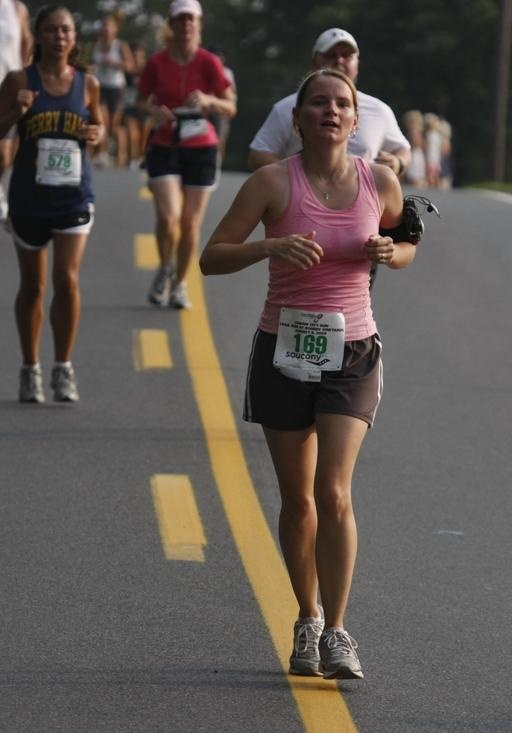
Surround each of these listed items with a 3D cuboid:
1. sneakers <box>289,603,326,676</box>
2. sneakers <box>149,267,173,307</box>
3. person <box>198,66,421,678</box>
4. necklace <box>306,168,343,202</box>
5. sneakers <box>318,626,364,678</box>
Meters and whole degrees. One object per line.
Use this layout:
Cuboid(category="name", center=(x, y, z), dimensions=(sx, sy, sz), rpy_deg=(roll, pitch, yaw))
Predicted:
Cuboid(category="sneakers", center=(0.139, 0.757, 2.107), dimensions=(0.066, 0.076, 0.177), rpy_deg=(-1, 3, 1))
Cuboid(category="sneakers", center=(-0.827, -0.662, 6.839), dimensions=(0.152, 0.405, 0.181), rpy_deg=(8, -13, -9))
Cuboid(category="person", center=(0.098, 0.018, 2.107), dimensions=(0.553, 1.594, 0.466), rpy_deg=(8, 8, 0))
Cuboid(category="necklace", center=(0.178, -0.470, 2.088), dimensions=(0.103, 0.102, 0.052), rpy_deg=(7, 8, -1))
Cuboid(category="sneakers", center=(0.212, 0.735, 1.991), dimensions=(0.076, 0.073, 0.169), rpy_deg=(1, -10, -6))
